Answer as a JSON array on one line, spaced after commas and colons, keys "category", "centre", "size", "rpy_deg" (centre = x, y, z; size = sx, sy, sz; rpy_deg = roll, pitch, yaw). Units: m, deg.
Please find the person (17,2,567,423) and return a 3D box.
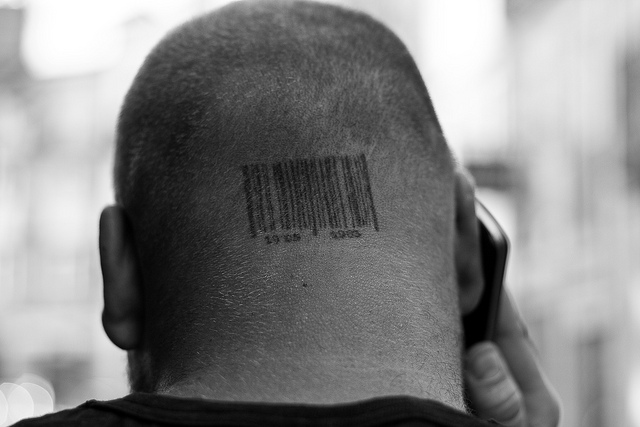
[{"category": "person", "centre": [-0.126, 0.000, 2.512], "size": [1.145, 0.880, 1.017], "rpy_deg": [-5, 92, -5]}]
